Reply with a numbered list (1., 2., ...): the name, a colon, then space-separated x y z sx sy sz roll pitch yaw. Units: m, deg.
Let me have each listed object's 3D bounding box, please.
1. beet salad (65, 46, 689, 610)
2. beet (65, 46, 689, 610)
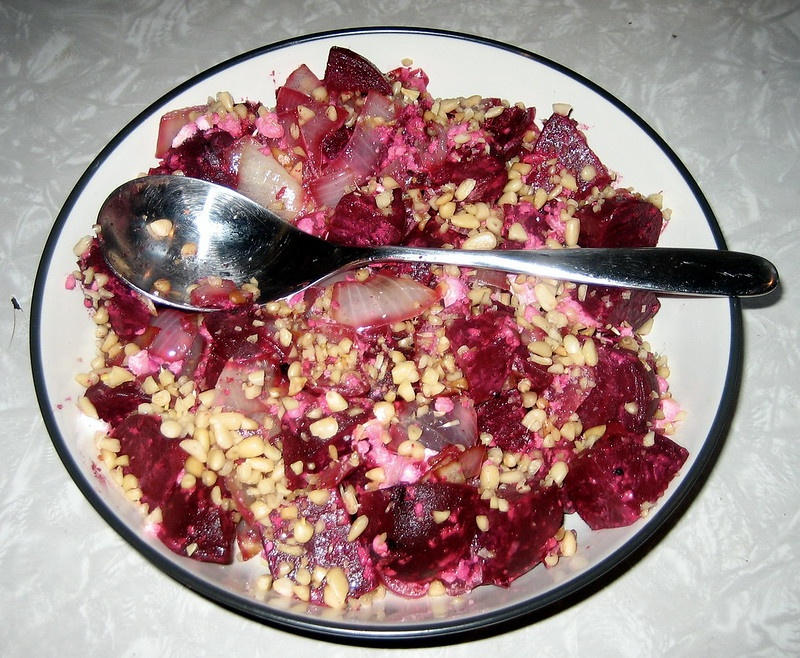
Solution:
1. beet salad: -0.060 0.051 2.103 1.204 0.483 1.258 -2 77 -1
2. beet: -0.041 -0.002 2.137 1.564 0.319 1.383 -4 84 0
